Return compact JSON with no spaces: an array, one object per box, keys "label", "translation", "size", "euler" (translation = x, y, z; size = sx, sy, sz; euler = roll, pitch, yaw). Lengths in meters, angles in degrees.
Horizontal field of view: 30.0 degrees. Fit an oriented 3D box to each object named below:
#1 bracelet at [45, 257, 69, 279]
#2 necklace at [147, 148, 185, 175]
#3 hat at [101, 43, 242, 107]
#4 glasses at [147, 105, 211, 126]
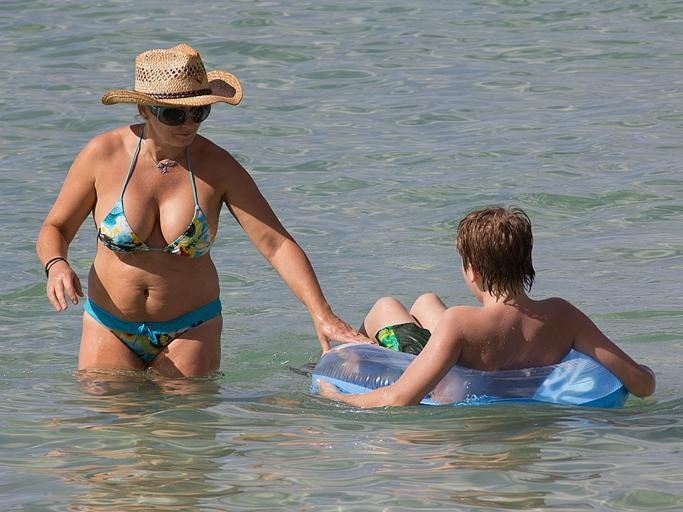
[{"label":"bracelet","translation":[-1.881,0.047,8.237],"size":[0.142,0.142,0.154],"euler":[-3,16,-13]},{"label":"necklace","translation":[-1.174,-0.643,8.301],"size":[0.288,0.090,0.126],"euler":[2,15,3]},{"label":"hat","translation":[-1.096,-1.215,8.374],"size":[0.882,0.232,0.647],"euler":[2,6,26]},{"label":"glasses","translation":[-1.068,-0.975,8.247],"size":[0.402,0.132,0.136],"euler":[-1,15,-6]}]
